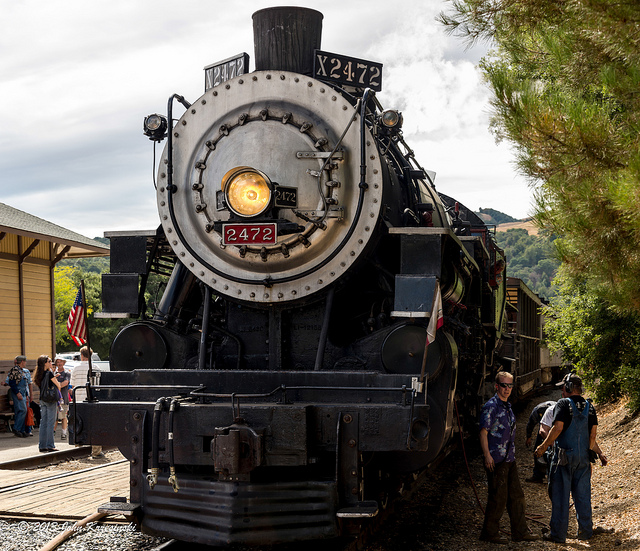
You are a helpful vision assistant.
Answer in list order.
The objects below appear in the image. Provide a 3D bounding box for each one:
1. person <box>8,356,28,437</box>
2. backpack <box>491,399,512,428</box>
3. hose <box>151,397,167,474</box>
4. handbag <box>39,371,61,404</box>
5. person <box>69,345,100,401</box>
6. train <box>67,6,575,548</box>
[{"bbox_3d":[-6.231,2.494,14.314,0.405,1.662,0.447,3,-3,-12],"label":"person"},{"bbox_3d":[1.886,1.461,7.288,0.186,0.269,0.278,2,-2,26],"label":"backpack"},{"bbox_3d":[-1.283,1.290,5.563,0.099,0.618,0.196,2,-3,7],"label":"hose"},{"bbox_3d":[-4.569,1.888,11.775,0.284,0.528,0.261,3,-4,-23],"label":"handbag"},{"bbox_3d":[-4.035,1.888,12.064,0.537,1.404,0.405,-1,7,-8],"label":"person"},{"bbox_3d":[-0.043,-0.088,7.191,3.100,5.297,3.929,1,-4,20],"label":"train"}]
